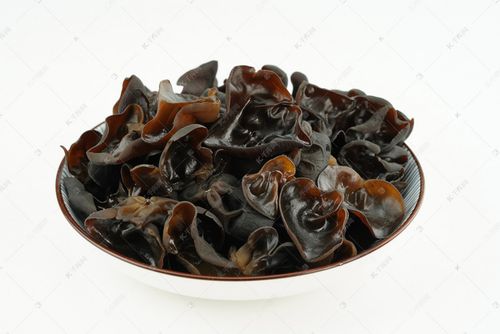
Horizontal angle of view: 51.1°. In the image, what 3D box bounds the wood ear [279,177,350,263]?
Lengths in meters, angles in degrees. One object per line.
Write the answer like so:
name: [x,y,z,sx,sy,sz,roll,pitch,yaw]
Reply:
wood ear: [0.349,0.305,3.082,0.366,0.498,0.164,-23,-7,-20]
